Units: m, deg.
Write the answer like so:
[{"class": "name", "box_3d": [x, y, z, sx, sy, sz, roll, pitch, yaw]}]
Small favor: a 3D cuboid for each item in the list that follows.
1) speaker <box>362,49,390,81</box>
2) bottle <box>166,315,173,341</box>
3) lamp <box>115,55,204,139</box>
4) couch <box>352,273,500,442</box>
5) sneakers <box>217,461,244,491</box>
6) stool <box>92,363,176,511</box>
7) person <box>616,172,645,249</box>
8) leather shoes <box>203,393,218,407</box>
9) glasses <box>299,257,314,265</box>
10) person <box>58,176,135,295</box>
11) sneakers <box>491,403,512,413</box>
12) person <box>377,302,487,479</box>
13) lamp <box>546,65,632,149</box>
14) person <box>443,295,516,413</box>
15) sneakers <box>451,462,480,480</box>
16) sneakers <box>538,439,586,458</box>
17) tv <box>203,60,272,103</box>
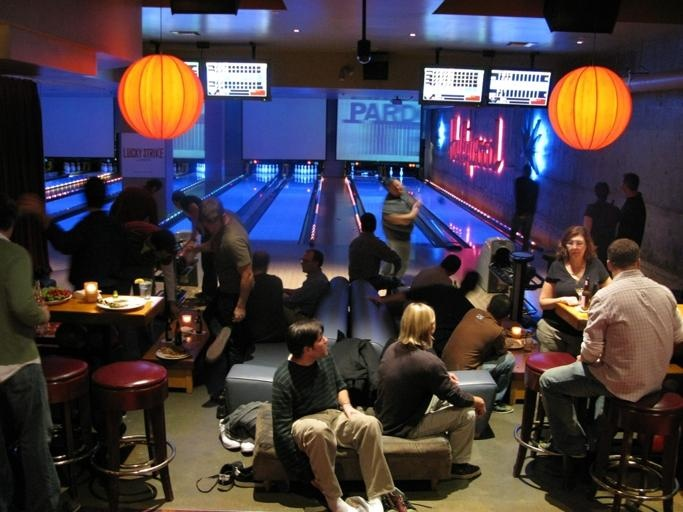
[{"class": "speaker", "box_3d": [0.550, -3.054, 8.642, 0.444, 0.446, 0.308, 1, 8, 0]}, {"class": "bottle", "box_3d": [-1.710, 0.712, 5.325, 0.046, 0.167, 0.091, 6, 0, -23]}, {"class": "lamp", "box_3d": [-1.478, -1.305, 4.566, 0.687, 0.716, 0.675, -10, 25, -35]}, {"class": "couch", "box_3d": [0.834, 0.919, 4.973, 1.311, 1.039, 1.327, -1, 14, -8]}, {"class": "sneakers", "box_3d": [-0.790, 1.545, 3.811, 0.088, 0.087, 0.242, 3, 13, 9]}, {"class": "stool", "box_3d": [-1.444, 1.160, 3.726, 0.528, 0.892, 0.678, -3, 9, -29]}, {"class": "person", "box_3d": [3.801, -0.607, 7.009, 0.332, 0.944, 0.635, 6, 9, 27]}, {"class": "leather shoes", "box_3d": [-1.169, 1.266, 4.734, 0.147, 0.088, 0.120, 7, 10, 34]}, {"class": "glasses", "box_3d": [-0.350, 0.046, 5.342, 0.060, 0.066, 0.150, -6, 11, -44]}, {"class": "person", "box_3d": [-2.268, -0.182, 4.931, 0.601, 1.069, 0.261, -3, 9, -28]}, {"class": "sneakers", "box_3d": [1.431, 1.344, 4.817, 0.204, 0.081, 0.100, 0, 12, 6]}, {"class": "person", "box_3d": [0.685, 0.938, 3.937, 0.737, 1.165, 0.799, 7, 10, 24]}, {"class": "lamp", "box_3d": [2.221, -1.282, 5.071, 0.754, 0.792, 0.747, 4, 4, -8]}, {"class": "person", "box_3d": [1.187, 0.810, 4.654, 0.665, 0.966, 0.509, 2, 16, -25]}, {"class": "sneakers", "box_3d": [0.896, 1.564, 3.919, 0.255, 0.116, 0.095, -1, 12, -5]}, {"class": "sneakers", "box_3d": [1.534, 1.339, 3.758, 0.302, 0.111, 0.208, -2, 4, 22]}, {"class": "tv", "box_3d": [-1.407, -2.373, 7.266, 0.840, 0.465, 0.174, 1, 8, -4]}]
